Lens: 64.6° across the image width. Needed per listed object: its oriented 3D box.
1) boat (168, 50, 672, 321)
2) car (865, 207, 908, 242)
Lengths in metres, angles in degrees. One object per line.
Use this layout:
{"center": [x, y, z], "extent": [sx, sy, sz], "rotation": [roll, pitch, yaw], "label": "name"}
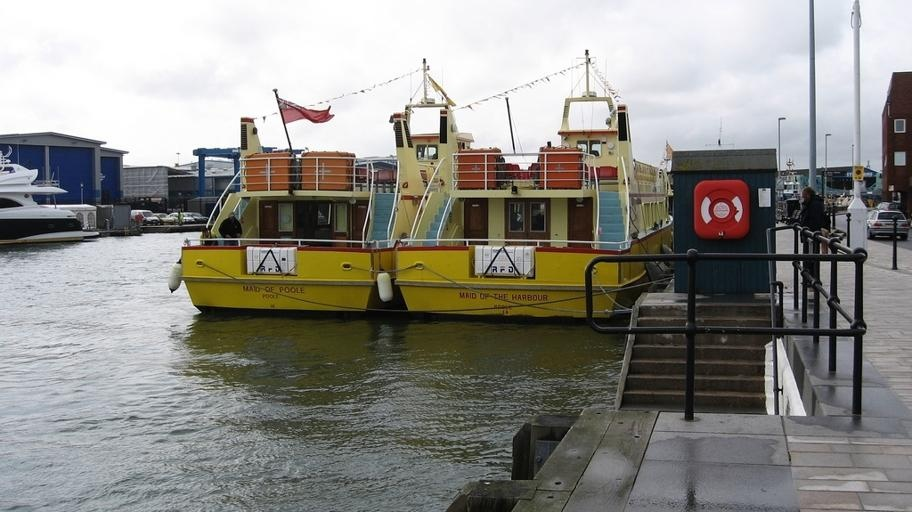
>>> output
{"center": [-0.871, -2.240, 22.092], "extent": [13.431, 7.088, 9.436], "rotation": [0, 12, 8], "label": "boat"}
{"center": [20.470, -1.443, 34.490], "extent": [2.003, 1.347, 4.596], "rotation": [1, 6, 26], "label": "car"}
